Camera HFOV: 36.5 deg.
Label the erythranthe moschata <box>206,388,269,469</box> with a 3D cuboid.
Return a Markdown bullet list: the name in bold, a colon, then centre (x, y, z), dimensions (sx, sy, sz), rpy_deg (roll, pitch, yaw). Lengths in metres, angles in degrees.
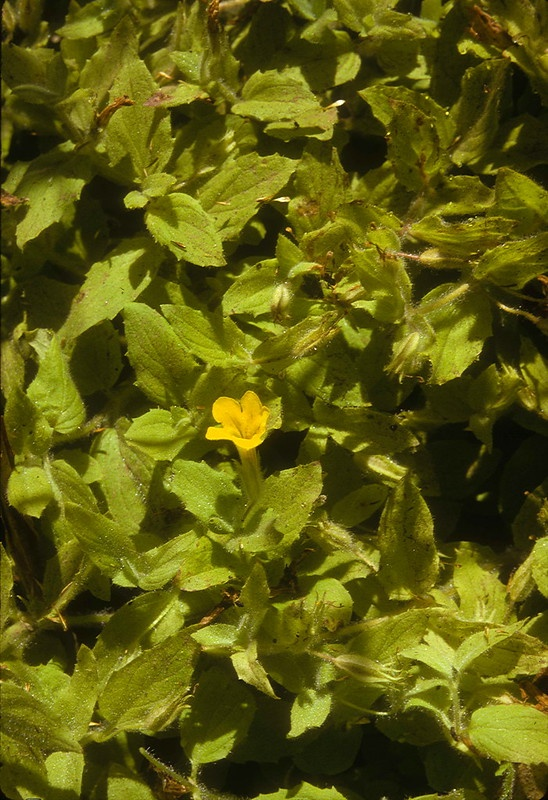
- **erythranthe moschata**: centre (-0.056, 0.043, 1.296), dimensions (0.112, 0.074, 0.104), rpy_deg (-6, 69, -2)
